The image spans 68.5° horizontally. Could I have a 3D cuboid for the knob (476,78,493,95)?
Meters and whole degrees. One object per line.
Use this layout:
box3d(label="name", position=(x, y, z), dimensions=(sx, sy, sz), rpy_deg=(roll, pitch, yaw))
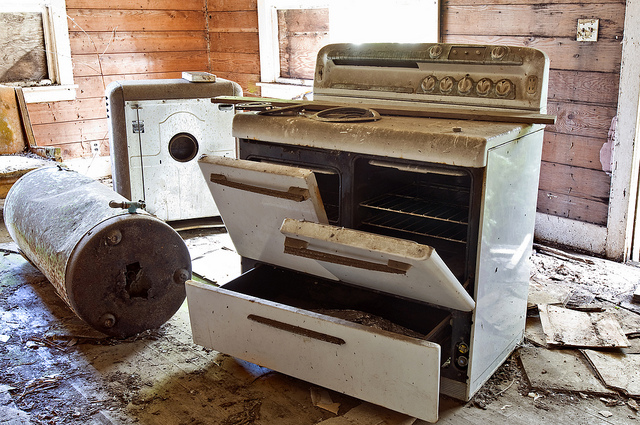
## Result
box3d(label="knob", position=(0.906, -0.694, 2.593), dimensions=(0.089, 0.083, 0.037), rpy_deg=(18, 15, 32))

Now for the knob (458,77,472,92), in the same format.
box3d(label="knob", position=(0.812, -0.715, 2.639), dimensions=(0.079, 0.073, 0.029), rpy_deg=(18, 8, 27))

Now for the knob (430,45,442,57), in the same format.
box3d(label="knob", position=(0.664, -0.919, 2.689), dimensions=(0.053, 0.064, 0.023), rpy_deg=(14, -3, 25))

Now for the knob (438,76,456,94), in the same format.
box3d(label="knob", position=(0.722, -0.726, 2.682), dimensions=(0.076, 0.089, 0.024), rpy_deg=(8, 12, 24))

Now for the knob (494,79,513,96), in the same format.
box3d(label="knob", position=(0.993, -0.675, 2.551), dimensions=(0.090, 0.083, 0.030), rpy_deg=(6, 9, 37))
